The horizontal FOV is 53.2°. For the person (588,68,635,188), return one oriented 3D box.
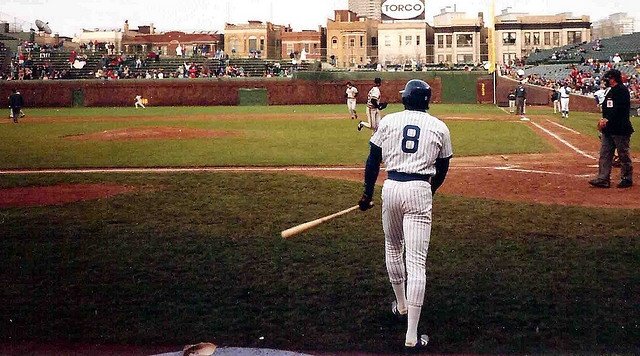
[{"bbox_3d":[8.763,-1.452,18.986,1.077,3.519,0.901,3,10,22],"label":"person"}]

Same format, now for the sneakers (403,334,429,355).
[{"bbox_3d":[2.039,3.520,13.572,0.503,0.199,0.293,-10,21,-33],"label":"sneakers"}]

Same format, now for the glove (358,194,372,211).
[{"bbox_3d":[1.028,0.549,13.967,0.385,0.447,0.337,0,-2,21],"label":"glove"}]

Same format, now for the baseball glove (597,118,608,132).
[{"bbox_3d":[8.350,-1.569,18.763,0.165,0.394,0.314,10,-4,4],"label":"baseball glove"}]

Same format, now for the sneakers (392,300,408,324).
[{"bbox_3d":[1.743,2.979,14.049,0.199,0.215,0.533,-4,22,-4],"label":"sneakers"}]

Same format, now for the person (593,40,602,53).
[{"bbox_3d":[24.122,-11.506,55.671,1.126,0.608,1.496,4,21,21],"label":"person"}]

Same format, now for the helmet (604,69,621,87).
[{"bbox_3d":[8.625,-2.954,18.966,0.455,0.496,0.546,-6,1,23],"label":"helmet"}]
